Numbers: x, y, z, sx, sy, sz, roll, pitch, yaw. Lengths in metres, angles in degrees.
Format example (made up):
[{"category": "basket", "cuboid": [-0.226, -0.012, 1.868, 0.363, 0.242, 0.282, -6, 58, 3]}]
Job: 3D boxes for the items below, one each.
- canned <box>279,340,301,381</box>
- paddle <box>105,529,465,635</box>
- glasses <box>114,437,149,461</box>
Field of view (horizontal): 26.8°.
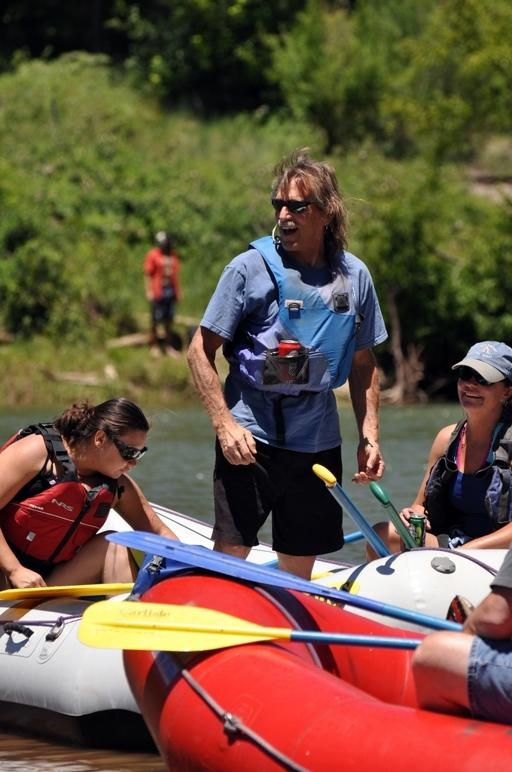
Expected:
[{"category": "canned", "cuboid": [0.086, -0.067, 2.916, 0.063, 0.102, 0.053, 3, 14, -3]}, {"category": "paddle", "cuboid": [0.088, 0.490, 2.621, 1.093, 0.039, 0.139, 21, 6, -29]}, {"category": "glasses", "cuboid": [-0.363, 0.190, 3.104, 0.084, 0.026, 0.068, 33, 7, 24]}]
